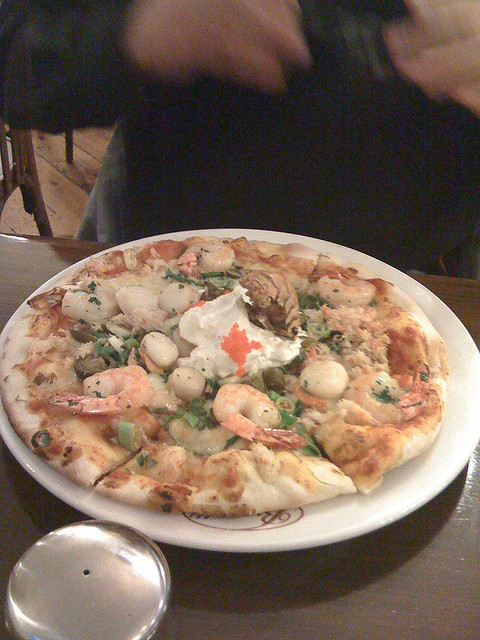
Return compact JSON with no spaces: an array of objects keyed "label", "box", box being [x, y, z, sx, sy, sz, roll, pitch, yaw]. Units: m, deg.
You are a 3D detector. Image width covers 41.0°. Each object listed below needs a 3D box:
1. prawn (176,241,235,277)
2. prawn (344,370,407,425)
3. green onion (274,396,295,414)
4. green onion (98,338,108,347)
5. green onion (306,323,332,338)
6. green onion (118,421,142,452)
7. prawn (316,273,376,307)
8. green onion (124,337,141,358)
[{"label":"prawn","box":[-0.133,-0.208,2.063,0.202,0.110,0.166,15,27,34]},{"label":"prawn","box":[0.340,0.182,1.591,0.157,0.041,0.150,28,51,28]},{"label":"green onion","box":[0.109,0.205,1.575,0.044,0.007,0.037,6,31,0]},{"label":"green onion","box":[-0.366,0.058,1.696,0.022,0.005,0.019,11,32,12]},{"label":"green onion","box":[0.217,0.030,1.796,0.047,0.014,0.050,25,24,34]},{"label":"green onion","box":[-0.256,0.267,1.480,0.060,0.032,0.067,19,41,-50]},{"label":"prawn","box":[0.312,-0.090,1.914,0.133,0.033,0.116,11,29,10]},{"label":"green onion","box":[-0.284,0.072,1.694,0.049,0.013,0.045,-23,49,-12]}]
